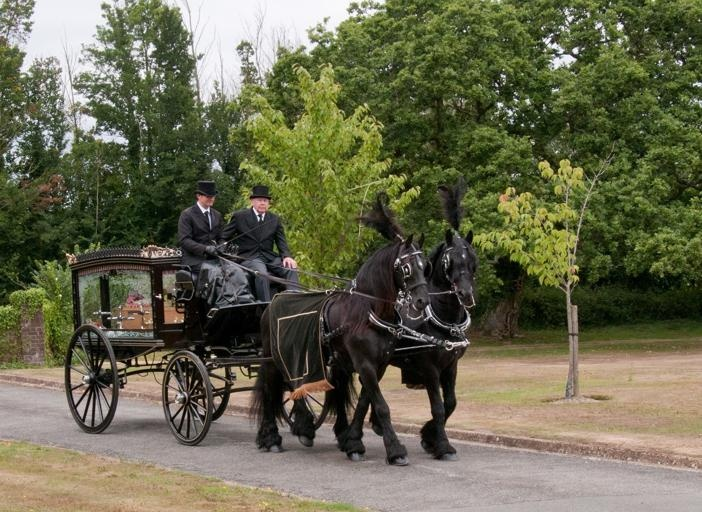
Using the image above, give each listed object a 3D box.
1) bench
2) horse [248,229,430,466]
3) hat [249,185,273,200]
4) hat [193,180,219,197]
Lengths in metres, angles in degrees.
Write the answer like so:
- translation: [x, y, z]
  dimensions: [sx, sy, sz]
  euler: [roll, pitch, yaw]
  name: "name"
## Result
- translation: [-2.798, 0.609, 24.407]
  dimensions: [2.708, 1.019, 2.038]
  euler: [1, -15, -11]
  name: "bench"
- translation: [-0.293, 2.161, 23.009]
  dimensions: [1.814, 4.448, 5.434]
  euler: [7, -10, -43]
  name: "horse"
- translation: [-2.102, -1.437, 24.501]
  dimensions: [0.421, 0.237, 0.481]
  euler: [1, 1, -10]
  name: "hat"
- translation: [-3.328, -1.538, 24.482]
  dimensions: [0.425, 0.230, 0.488]
  euler: [-1, 4, -20]
  name: "hat"
